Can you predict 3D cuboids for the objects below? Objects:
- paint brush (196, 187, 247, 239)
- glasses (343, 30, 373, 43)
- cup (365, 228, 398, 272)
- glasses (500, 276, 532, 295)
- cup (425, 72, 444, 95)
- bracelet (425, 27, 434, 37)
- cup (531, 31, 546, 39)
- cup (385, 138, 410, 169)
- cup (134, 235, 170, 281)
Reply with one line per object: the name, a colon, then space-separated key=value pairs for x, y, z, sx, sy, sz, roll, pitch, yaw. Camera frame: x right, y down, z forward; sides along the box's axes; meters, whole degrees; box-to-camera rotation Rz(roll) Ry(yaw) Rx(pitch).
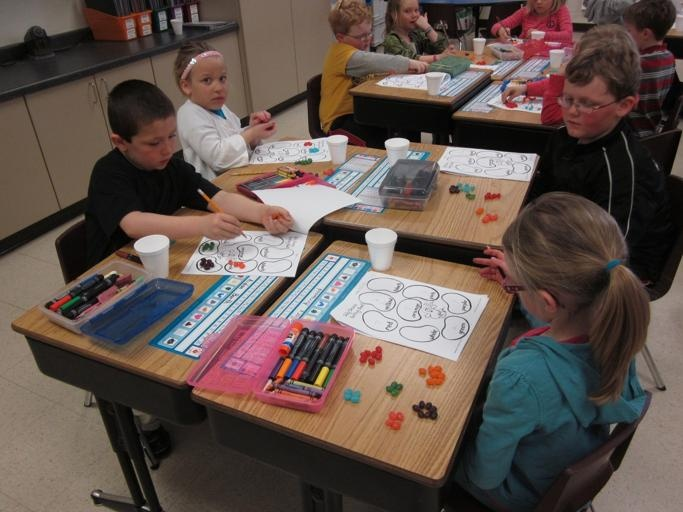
paint brush: x=-0.439 y=-0.149 z=1.772 sx=0.310 sy=0.037 sz=0.025 roll=45 pitch=17 yaw=26
glasses: x=0.091 y=-1.541 z=3.412 sx=0.146 sy=0.041 sz=0.138 roll=15 pitch=35 yaw=23
cup: x=0.123 y=-0.034 z=1.607 sx=0.137 sy=0.136 sz=0.130 roll=-3 pitch=35 yaw=2
glasses: x=0.439 y=0.091 z=1.239 sx=0.069 sy=0.017 sz=0.064 roll=12 pitch=22 yaw=11
cup: x=0.516 y=-1.016 z=2.815 sx=0.132 sy=0.125 sz=0.125 roll=-3 pitch=49 yaw=4
bracelet: x=0.700 y=-1.787 z=3.876 sx=0.014 sy=0.054 sz=0.055 roll=2 pitch=37 yaw=-38
cup: x=1.441 y=-1.614 z=3.546 sx=0.099 sy=0.044 sz=0.072 roll=-15 pitch=26 yaw=-18
cup: x=0.239 y=-0.463 z=2.169 sx=0.135 sy=0.121 sz=0.121 roll=8 pitch=43 yaw=11
cup: x=-0.578 y=0.010 z=1.531 sx=0.100 sy=0.142 sz=0.080 roll=-22 pitch=36 yaw=-23
